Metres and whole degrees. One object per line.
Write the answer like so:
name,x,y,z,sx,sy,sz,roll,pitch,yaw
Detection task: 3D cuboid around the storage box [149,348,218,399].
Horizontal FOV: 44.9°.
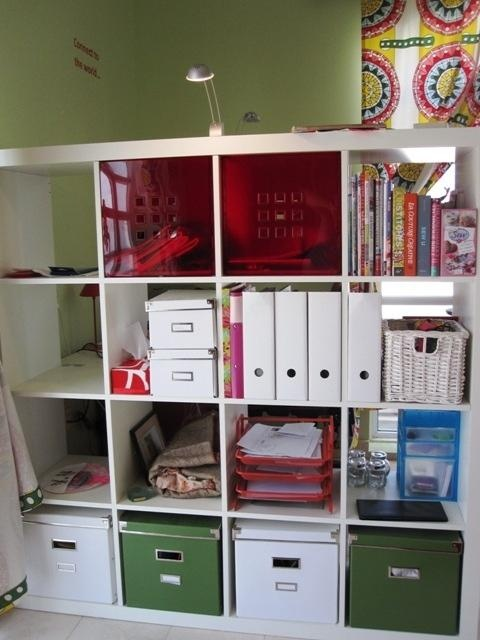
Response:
storage box,-0.178,0.167,1.789,0.166,0.108,0.168,1,6,5

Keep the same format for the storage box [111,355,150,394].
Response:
storage box,-0.354,0.165,1.886,0.092,0.089,0.128,0,4,1

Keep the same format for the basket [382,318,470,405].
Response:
basket,0.550,0.115,1.739,0.237,0.216,0.240,0,9,15

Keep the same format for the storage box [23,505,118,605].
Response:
storage box,-0.568,0.815,2.042,0.338,0.316,0.198,-1,0,11

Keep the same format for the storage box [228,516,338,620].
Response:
storage box,0.147,0.748,1.814,0.308,0.295,0.310,1,7,8

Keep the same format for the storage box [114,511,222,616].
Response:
storage box,-0.258,0.856,1.923,0.346,0.193,0.301,15,39,-22

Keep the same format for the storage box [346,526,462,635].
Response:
storage box,0.518,0.756,1.868,0.304,0.295,0.311,1,4,10

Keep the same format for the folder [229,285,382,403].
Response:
folder,0.184,0.084,1.693,0.437,0.333,0.036,0,9,11

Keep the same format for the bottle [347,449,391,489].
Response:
bottle,0.447,0.509,2.009,0.133,0.099,0.115,0,1,6
